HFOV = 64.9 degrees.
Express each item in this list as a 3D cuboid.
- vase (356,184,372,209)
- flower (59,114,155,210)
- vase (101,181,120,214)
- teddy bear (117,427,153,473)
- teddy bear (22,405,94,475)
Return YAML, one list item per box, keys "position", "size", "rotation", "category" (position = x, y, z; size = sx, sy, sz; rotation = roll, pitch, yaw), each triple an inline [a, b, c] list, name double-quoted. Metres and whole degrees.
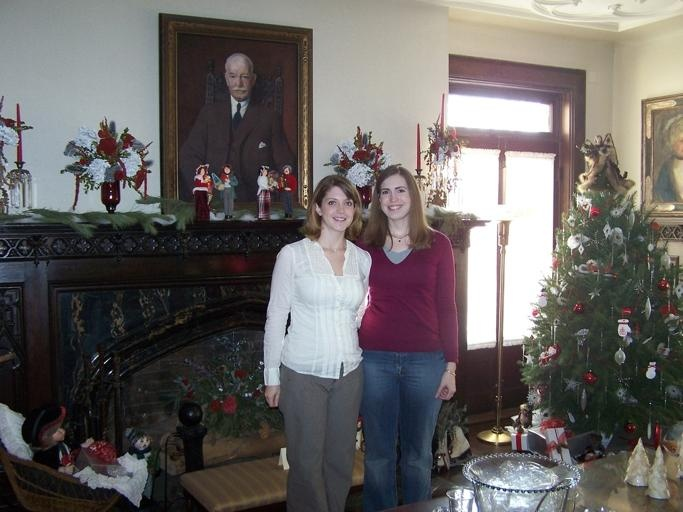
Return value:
- position: [0.175, -0.428, 3.861]
  size: [0.157, 0.219, 0.159]
  rotation: [0, 6, 7]
  category: "vase"
- position: [-1.447, -0.587, 3.622]
  size: [0.534, 0.665, 0.594]
  rotation: [1, 6, 7]
  category: "flower"
- position: [-1.461, -0.373, 3.381]
  size: [0.104, 0.206, 0.158]
  rotation: [-2, 6, -26]
  category: "vase"
- position: [-1.304, 1.205, 3.462]
  size: [0.134, 0.246, 0.133]
  rotation: [4, 15, 43]
  category: "teddy bear"
- position: [-1.649, 1.059, 3.079]
  size: [0.118, 0.219, 0.306]
  rotation: [-31, -30, 2]
  category: "teddy bear"
